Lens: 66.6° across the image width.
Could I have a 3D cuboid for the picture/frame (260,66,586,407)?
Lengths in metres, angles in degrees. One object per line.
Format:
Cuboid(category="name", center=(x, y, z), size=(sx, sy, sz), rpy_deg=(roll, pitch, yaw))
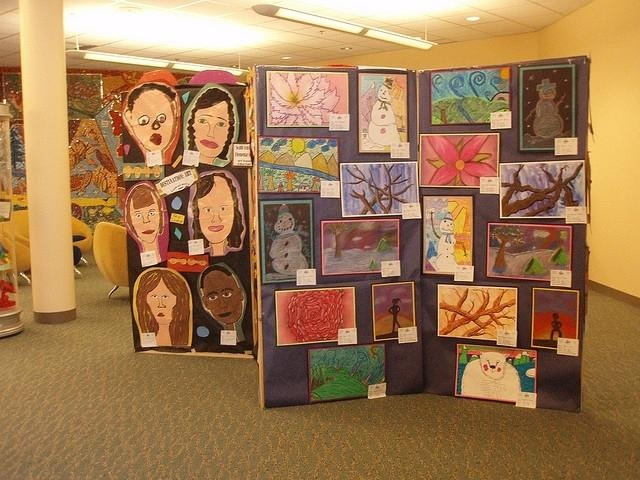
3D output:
Cuboid(category="picture/frame", center=(0.760, -0.096, 3.648), size=(2.674, 2.576, 0.378), rpy_deg=(-1, 7, -2))
